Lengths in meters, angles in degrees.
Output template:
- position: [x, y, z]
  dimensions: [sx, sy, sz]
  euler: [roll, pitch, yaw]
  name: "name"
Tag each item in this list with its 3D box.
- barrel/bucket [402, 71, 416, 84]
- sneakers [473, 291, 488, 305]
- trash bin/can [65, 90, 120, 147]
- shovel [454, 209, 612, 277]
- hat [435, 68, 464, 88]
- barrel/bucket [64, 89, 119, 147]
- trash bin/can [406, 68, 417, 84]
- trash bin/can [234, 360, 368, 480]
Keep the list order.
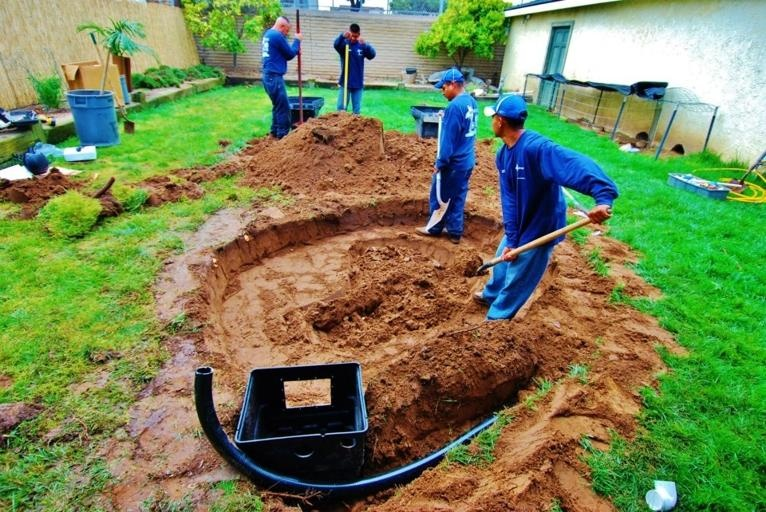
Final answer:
- position: [1.009, -6.834, 20.893]
  dimensions: [0.512, 0.377, 0.475]
  euler: [0, 37, 0]
  name: "barrel/bucket"
- position: [1.327, 0.576, 7.411]
  dimensions: [0.245, 0.113, 0.092]
  euler: [34, 27, 3]
  name: "sneakers"
- position: [-5.661, -2.804, 10.908]
  dimensions: [1.110, 1.129, 1.039]
  euler: [-11, 31, -31]
  name: "trash bin/can"
- position: [2.110, -0.147, 7.530]
  dimensions: [2.210, 0.196, 0.263]
  euler: [-29, 20, 38]
  name: "shovel"
- position: [1.006, -2.673, 8.111]
  dimensions: [0.377, 0.305, 0.435]
  euler: [8, 29, 10]
  name: "hat"
- position: [-5.655, -2.868, 10.875]
  dimensions: [1.112, 1.131, 1.034]
  euler: [4, 26, -2]
  name: "barrel/bucket"
- position: [1.062, -7.056, 21.157]
  dimensions: [0.410, 0.600, 1.147]
  euler: [3, 29, 1]
  name: "trash bin/can"
- position: [-0.828, 1.814, 5.814]
  dimensions: [1.448, 0.913, 1.044]
  euler: [-2, 41, -4]
  name: "trash bin/can"
